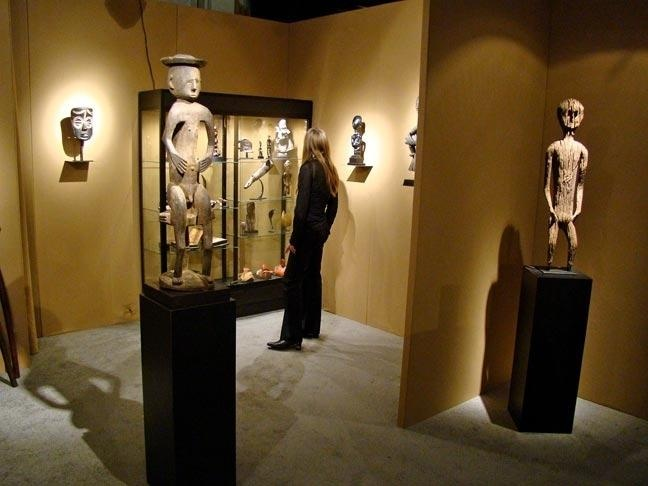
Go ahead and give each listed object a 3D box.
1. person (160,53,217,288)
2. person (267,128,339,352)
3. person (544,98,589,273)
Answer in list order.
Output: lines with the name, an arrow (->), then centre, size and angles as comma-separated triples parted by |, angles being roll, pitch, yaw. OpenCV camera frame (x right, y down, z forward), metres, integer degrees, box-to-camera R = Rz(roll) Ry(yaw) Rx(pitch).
person -> -0.890, -0.513, 3.556 | 0.345, 1.491, 0.513 | -1, 9, -17
person -> -0.174, -0.024, 5.346 | 0.644, 2.217, 0.358 | -6, 12, -41
person -> 1.893, -0.451, 4.160 | 0.315, 1.329, 0.241 | 5, 9, 16
